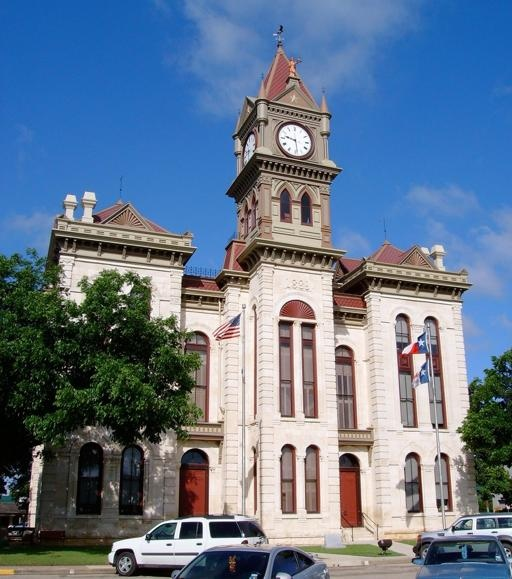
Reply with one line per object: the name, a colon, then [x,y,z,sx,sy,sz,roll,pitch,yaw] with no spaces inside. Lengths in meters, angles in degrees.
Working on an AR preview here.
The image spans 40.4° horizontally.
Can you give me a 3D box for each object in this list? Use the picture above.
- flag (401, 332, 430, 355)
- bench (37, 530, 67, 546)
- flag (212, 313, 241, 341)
flag: [7.696,2.640,33.665,1.397,1.319,0.154,-3,-12,33]
bench: [-8.014,9.795,27.479,1.024,0.519,0.520,5,-19,-13]
flag: [-1.296,1.712,31.271,1.571,1.660,0.241,-5,-39,38]
